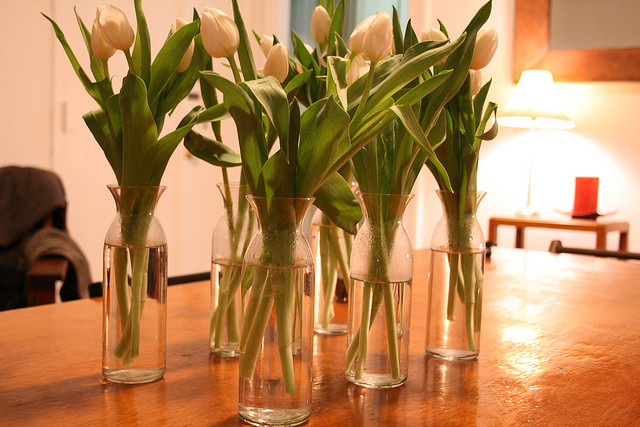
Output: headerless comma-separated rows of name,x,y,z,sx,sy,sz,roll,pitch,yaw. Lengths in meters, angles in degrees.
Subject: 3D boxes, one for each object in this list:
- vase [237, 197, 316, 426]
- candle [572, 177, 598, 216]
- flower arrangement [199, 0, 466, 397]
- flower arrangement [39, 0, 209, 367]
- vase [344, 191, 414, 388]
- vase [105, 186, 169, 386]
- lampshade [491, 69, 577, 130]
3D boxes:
vase,-0.067,0.152,0.863,0.114,0.349,0.076,1,11,-2
candle,1.661,-0.102,3.453,0.133,0.241,0.091,6,12,22
flower arrangement,0.011,-0.073,1.097,0.592,0.703,0.398,4,2,38
flower arrangement,-0.336,-0.065,1.009,0.274,0.617,0.252,-2,12,-19
vase,0.114,0.130,1.010,0.150,0.364,0.164,3,8,15
vase,-0.319,0.122,0.948,0.108,0.337,0.069,-3,12,-21
lampshade,1.399,-0.745,3.619,0.524,0.394,0.532,-6,7,-28
